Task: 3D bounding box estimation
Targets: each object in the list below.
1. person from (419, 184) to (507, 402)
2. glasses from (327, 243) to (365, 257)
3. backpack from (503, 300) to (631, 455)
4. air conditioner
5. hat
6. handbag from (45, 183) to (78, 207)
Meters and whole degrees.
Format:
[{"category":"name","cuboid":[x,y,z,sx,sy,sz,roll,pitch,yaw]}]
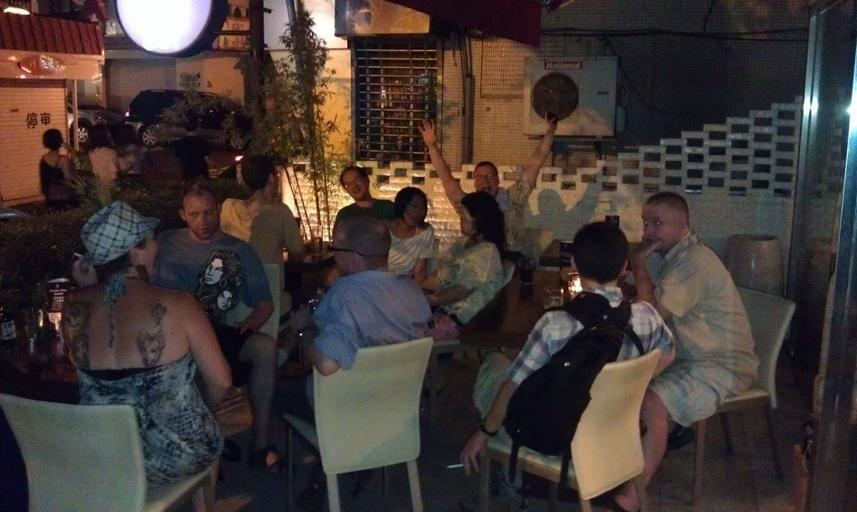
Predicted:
[{"category":"person","cuboid":[0.250,0.198,6.491,0.915,1.622,0.773,1,23,0]},{"category":"glasses","cuboid":[-0.619,-0.051,4.919,0.185,0.054,0.154,4,4,10]},{"category":"backpack","cuboid":[0.970,0.815,4.591,0.890,1.083,0.305,-2,11,0]},{"category":"air conditioner","cuboid":[2.158,-2.400,9.972,1.446,1.202,0.824,5,11,23]},{"category":"hat","cuboid":[-2.143,-0.173,4.616,0.497,0.412,0.239,-8,12,-26]},{"category":"handbag","cuboid":[-5.137,-0.844,9.265,0.466,0.455,0.152,1,6,-15]}]
